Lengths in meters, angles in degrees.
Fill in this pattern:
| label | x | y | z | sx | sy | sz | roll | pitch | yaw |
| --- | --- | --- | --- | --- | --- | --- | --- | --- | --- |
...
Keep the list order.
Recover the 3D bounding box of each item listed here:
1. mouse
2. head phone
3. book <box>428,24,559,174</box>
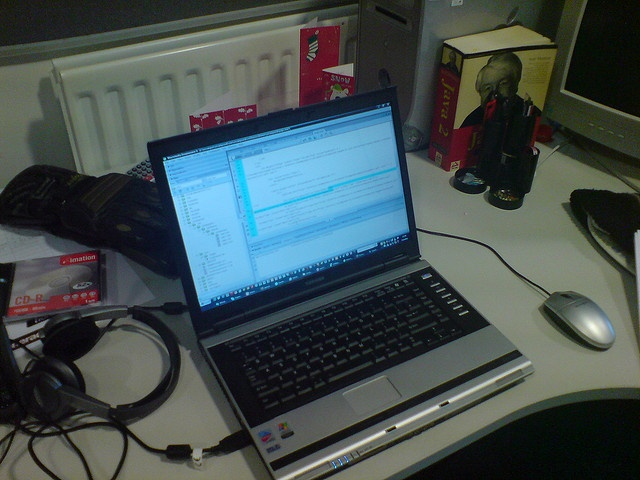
| label | x | y | z | sx | sy | sz | roll | pitch | yaw |
| --- | --- | --- | --- | --- | --- | --- | --- | --- | --- |
| mouse | 0.503 | 0.148 | 1.045 | 0.085 | 0.041 | 0.130 | -30 | 51 | -22 |
| head phone | -0.343 | 0.216 | 0.908 | 0.254 | 0.078 | 0.197 | -12 | 48 | -15 |
| book | 0.431 | -0.365 | 1.349 | 0.385 | 0.334 | 0.155 | -21 | 43 | -20 |
